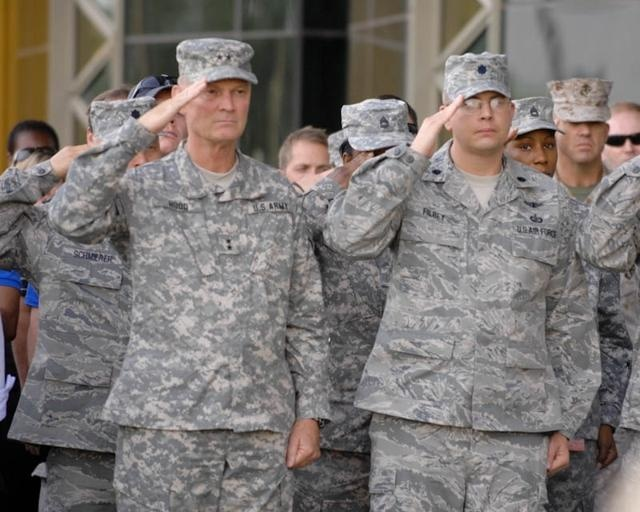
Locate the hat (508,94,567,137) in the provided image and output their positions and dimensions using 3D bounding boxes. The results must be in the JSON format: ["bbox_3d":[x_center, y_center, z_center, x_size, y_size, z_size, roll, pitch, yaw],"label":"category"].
[{"bbox_3d":[1.355,-0.950,9.547,0.390,0.206,0.528,-3,17,-12],"label":"hat"}]

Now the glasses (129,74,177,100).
[{"bbox_3d":[-1.008,-1.032,8.899,0.225,0.119,0.346,-7,-6,-15],"label":"glasses"}]

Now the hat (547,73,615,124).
[{"bbox_3d":[1.760,-1.082,9.970,0.461,0.254,0.529,-2,12,3],"label":"hat"}]

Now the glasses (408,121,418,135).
[{"bbox_3d":[0.591,-0.804,9.197,0.083,0.082,0.103,0,-11,6],"label":"glasses"}]

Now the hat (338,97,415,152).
[{"bbox_3d":[0.334,-0.796,8.765,0.323,0.202,0.409,-10,13,-30],"label":"hat"}]

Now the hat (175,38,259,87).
[{"bbox_3d":[-0.538,-1.028,7.816,0.429,0.231,0.498,-2,10,-25],"label":"hat"}]

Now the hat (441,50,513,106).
[{"bbox_3d":[0.900,-1.013,8.193,0.383,0.246,0.484,-6,11,-15],"label":"hat"}]
